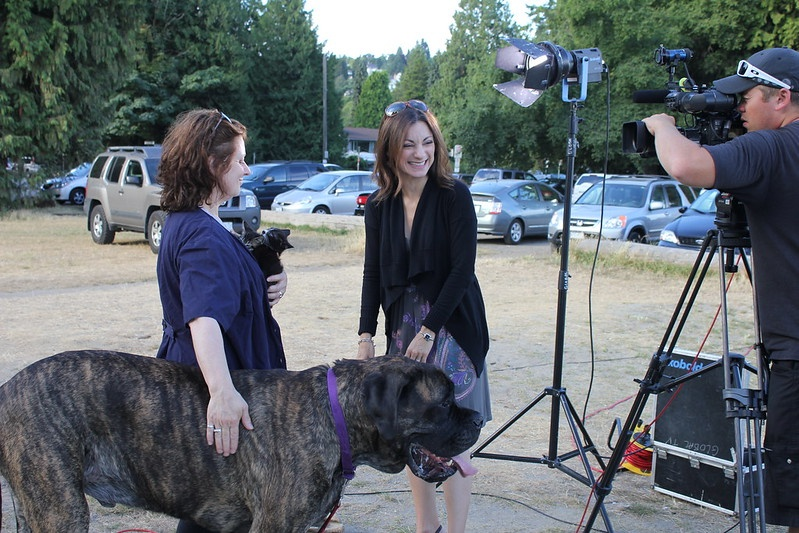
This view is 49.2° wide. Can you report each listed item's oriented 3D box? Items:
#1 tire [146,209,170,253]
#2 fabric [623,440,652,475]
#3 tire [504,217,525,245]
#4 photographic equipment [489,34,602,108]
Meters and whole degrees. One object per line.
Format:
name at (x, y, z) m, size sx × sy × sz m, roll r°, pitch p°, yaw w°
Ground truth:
tire at (-4.640, -0.632, 16.331) m, size 0.255 × 0.785 × 0.760 m, roll -1°, pitch 5°, yaw 11°
fabric at (2.137, 1.725, 7.786) m, size 0.294 × 0.121 × 0.300 m, roll -8°, pitch 17°, yaw -15°
tire at (2.645, -0.848, 20.087) m, size 0.196 × 0.594 × 0.573 m, roll 9°, pitch 1°, yaw 28°
photographic equipment at (1.265, -1.675, 7.422) m, size 0.954 × 0.578 × 0.511 m, roll 4°, pitch 10°, yaw 15°
